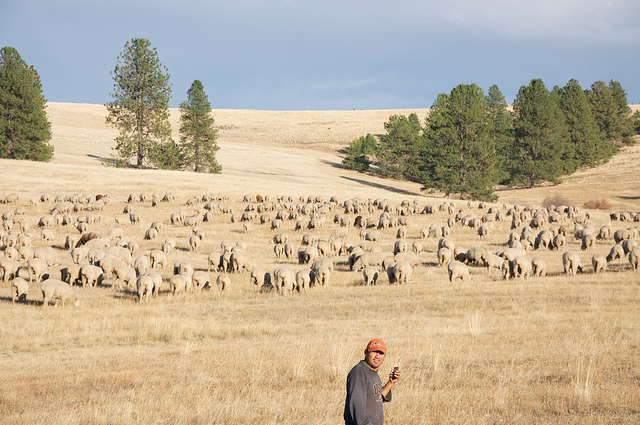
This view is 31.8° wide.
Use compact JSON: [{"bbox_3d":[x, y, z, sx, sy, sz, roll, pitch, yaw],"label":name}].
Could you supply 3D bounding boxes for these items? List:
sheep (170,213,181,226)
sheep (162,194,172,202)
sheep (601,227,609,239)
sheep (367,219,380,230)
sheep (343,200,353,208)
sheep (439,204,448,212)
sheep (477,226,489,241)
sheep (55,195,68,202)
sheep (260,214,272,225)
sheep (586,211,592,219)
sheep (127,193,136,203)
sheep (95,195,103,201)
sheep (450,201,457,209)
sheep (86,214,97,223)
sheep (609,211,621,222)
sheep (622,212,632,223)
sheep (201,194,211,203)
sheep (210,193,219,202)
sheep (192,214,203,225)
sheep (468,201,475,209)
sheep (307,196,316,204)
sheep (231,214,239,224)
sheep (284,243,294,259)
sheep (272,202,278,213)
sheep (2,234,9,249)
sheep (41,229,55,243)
[{"bbox_3d":[-19.169,0.939,150.922,1.245,1.412,0.688,0,2,-17],"label":"sheep"},{"bbox_3d":[-21.699,-1.928,161.455,1.237,0.888,0.711,1,2,-9],"label":"sheep"},{"bbox_3d":[35.617,2.756,142.068,0.958,1.429,0.521,1,2,0],"label":"sheep"},{"bbox_3d":[6.994,1.762,150.634,1.654,1.145,0.737,-21,3,24],"label":"sheep"},{"bbox_3d":[3.961,-1.086,159.108,1.138,0.891,1.406,1,2,1],"label":"sheep"},{"bbox_3d":[17.334,-0.519,159.570,1.187,0.979,0.739,1,2,13],"label":"sheep"},{"bbox_3d":[20.793,2.697,144.367,1.268,1.577,1.173,1,2,9],"label":"sheep"},{"bbox_3d":[-36.060,-1.791,157.941,1.327,0.870,1.183,3,3,39],"label":"sheep"},{"bbox_3d":[-7.291,1.029,152.119,1.393,1.258,0.824,1,2,-10],"label":"sheep"},{"bbox_3d":[36.251,0.501,153.545,0.965,1.383,0.583,-1,1,-6],"label":"sheep"},{"bbox_3d":[-26.564,-1.916,160.599,1.004,1.225,1.651,2,2,33],"label":"sheep"},{"bbox_3d":[-30.822,-1.930,158.099,0.794,0.473,0.829,-3,6,-7],"label":"sheep"},{"bbox_3d":[19.334,-0.875,163.437,1.018,1.017,1.041,-7,10,-43],"label":"sheep"},{"bbox_3d":[-29.732,0.926,147.720,1.363,1.075,0.582,0,2,-13],"label":"sheep"},{"bbox_3d":[39.627,0.760,152.593,1.214,1.215,2.474,0,2,-15],"label":"sheep"},{"bbox_3d":[40.954,0.778,151.478,1.109,1.251,0.816,1,2,-5],"label":"sheep"},{"bbox_3d":[-16.404,-1.904,163.584,1.554,1.159,0.944,-1,3,-44],"label":"sheep"},{"bbox_3d":[-15.223,-2.006,164.103,1.058,0.972,1.961,0,2,-20],"label":"sheep"},{"bbox_3d":[-16.234,0.973,151.821,1.009,1.151,1.499,1,2,-5],"label":"sheep"},{"bbox_3d":[21.509,-0.892,162.250,0.784,0.969,1.909,1,2,5],"label":"sheep"},{"bbox_3d":[-1.205,-1.779,165.333,1.102,0.885,2.747,1,2,0],"label":"sheep"},{"bbox_3d":[-11.450,1.060,152.391,0.929,1.142,1.849,1,2,0],"label":"sheep"},{"bbox_3d":[-3.841,4.867,138.422,1.072,1.726,0.985,1,2,7],"label":"sheep"},{"bbox_3d":[-6.392,-0.526,158.773,0.745,1.351,0.391,3,-5,-3],"label":"sheep"},{"bbox_3d":[-37.736,3.639,136.162,0.625,1.448,2.817,0,2,-18],"label":"sheep"},{"bbox_3d":[-33.707,3.089,140.546,1.792,1.535,0.982,-1,3,-44],"label":"sheep"}]
